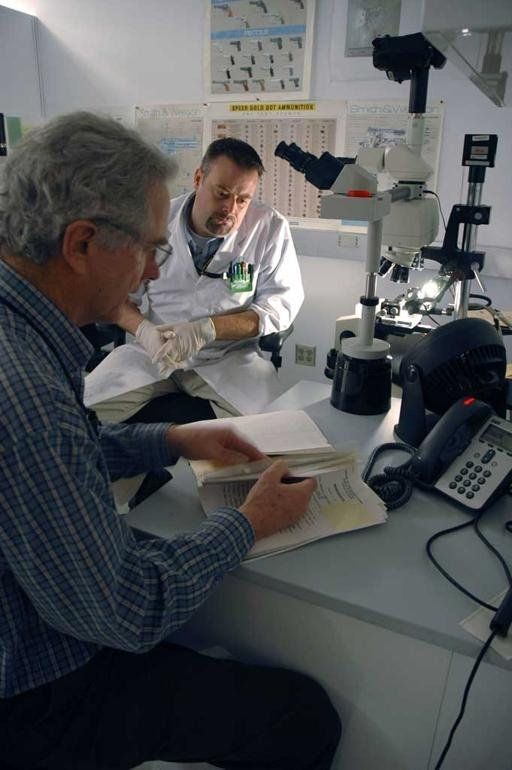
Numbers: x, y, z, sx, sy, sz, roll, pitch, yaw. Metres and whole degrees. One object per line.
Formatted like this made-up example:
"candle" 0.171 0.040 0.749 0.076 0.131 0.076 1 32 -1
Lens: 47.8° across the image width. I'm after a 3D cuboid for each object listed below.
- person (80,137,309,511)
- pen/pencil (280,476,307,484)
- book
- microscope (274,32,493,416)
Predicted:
"person" -0.215 -0.233 2.213 0.769 1.291 0.734 6 20 4
"pen/pencil" 0.061 0.161 0.980 0.023 0.008 0.020 4 0 -3
"book" 0.062 0.176 0.970 0.210 0.038 0.263 -11 34 -17
"microscope" 0.246 -0.314 1.417 0.506 1.063 0.520 8 19 17
